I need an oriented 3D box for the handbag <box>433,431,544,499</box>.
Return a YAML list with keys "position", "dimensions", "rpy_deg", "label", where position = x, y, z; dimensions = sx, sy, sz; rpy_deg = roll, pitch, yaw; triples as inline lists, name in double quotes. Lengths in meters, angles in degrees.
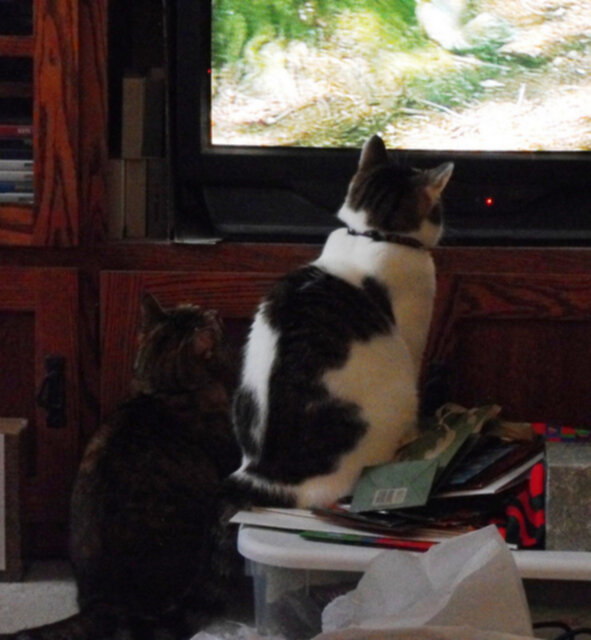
- position: [0.220, 0.162, 0.871]
  dimensions: [0.083, 0.019, 0.077]
  rpy_deg: [-30, 15, -23]
  label: "handbag"
